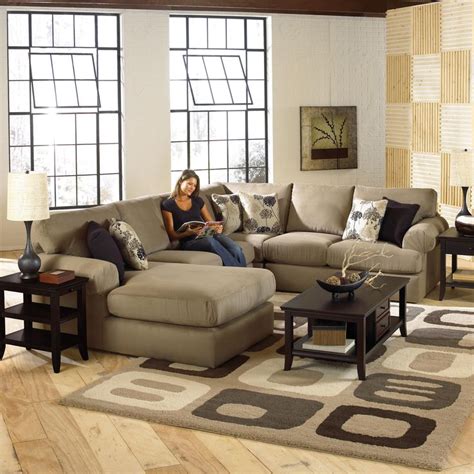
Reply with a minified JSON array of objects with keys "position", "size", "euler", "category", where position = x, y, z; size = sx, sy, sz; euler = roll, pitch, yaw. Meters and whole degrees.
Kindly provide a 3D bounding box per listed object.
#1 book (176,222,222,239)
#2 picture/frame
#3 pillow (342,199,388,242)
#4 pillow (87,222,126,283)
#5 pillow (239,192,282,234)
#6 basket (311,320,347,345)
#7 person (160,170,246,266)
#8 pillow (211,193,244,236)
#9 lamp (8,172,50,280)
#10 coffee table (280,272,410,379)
[{"position":[-0.373,-0.071,4.550],"size":[0.229,0.079,0.231],"euler":[1,-9,-42],"category":"book"},{"position":[1.471,-1.691,8.088],"size":[1.277,1.072,0.100],"euler":[-2,8,-19],"category":"picture/frame"},{"position":[1.306,-0.169,4.788],"size":[0.144,0.391,0.458],"euler":[22,-8,-37],"category":"pillow"},{"position":[-0.939,0.117,3.460],"size":[0.230,0.321,0.403],"euler":[6,11,-2],"category":"pillow"},{"position":[0.233,-0.249,5.283],"size":[0.503,0.432,0.171],"euler":[-2,-12,-17],"category":"pillow"},{"position":[0.545,0.578,2.947],"size":[0.170,0.086,0.158],"euler":[0,3,12],"category":"basket"},{"position":[-0.292,-0.076,4.644],"size":[0.504,1.034,0.863],"euler":[-21,23,-40],"category":"person"},{"position":[-0.118,-0.233,5.144],"size":[0.175,0.403,0.400],"euler":[-22,3,34],"category":"pillow"},{"position":[-1.372,-0.084,3.207],"size":[0.253,0.699,0.293],"euler":[-5,8,-23],"category":"lamp"},{"position":[0.654,0.331,3.013],"size":[0.571,0.409,1.002],"euler":[3,9,27],"category":"coffee table"}]
